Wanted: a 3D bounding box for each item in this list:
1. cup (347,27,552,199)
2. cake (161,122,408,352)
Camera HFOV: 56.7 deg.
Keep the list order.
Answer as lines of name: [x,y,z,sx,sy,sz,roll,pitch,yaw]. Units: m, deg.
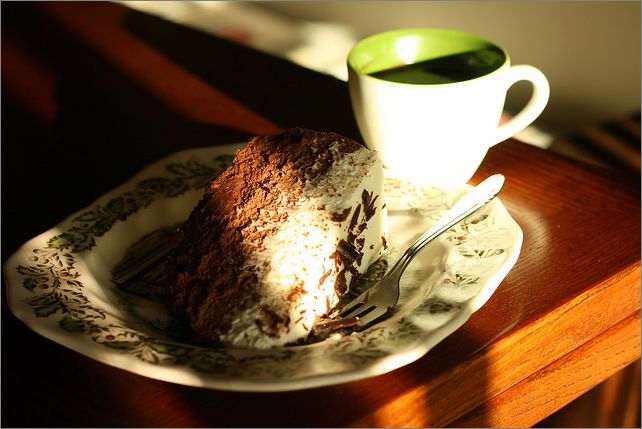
cup: [0.199,-0.171,1.034,0.333,0.201,0.248,7,39,12]
cake: [-0.023,0.051,0.866,0.322,0.107,0.243,-38,47,-19]
